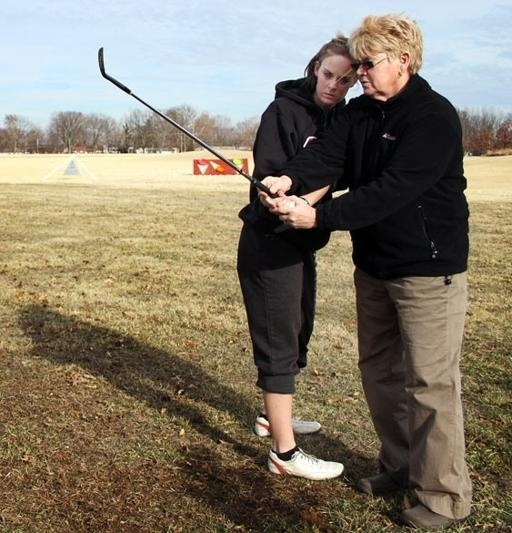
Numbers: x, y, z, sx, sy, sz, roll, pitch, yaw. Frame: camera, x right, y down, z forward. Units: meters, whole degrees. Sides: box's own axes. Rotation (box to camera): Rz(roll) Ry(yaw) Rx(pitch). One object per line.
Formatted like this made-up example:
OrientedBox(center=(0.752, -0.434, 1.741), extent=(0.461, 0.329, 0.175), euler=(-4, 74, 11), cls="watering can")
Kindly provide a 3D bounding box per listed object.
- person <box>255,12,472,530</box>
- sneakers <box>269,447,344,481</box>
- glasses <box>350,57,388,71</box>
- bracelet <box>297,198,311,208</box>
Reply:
OrientedBox(center=(0.722, 0.062, 2.783), extent=(1.138, 2.596, 0.597), euler=(9, 11, 20), cls="person")
OrientedBox(center=(0.314, 1.188, 3.186), extent=(0.477, 0.170, 0.180), euler=(2, 9, -3), cls="sneakers")
OrientedBox(center=(0.560, -0.991, 2.560), extent=(0.082, 0.023, 0.079), euler=(-19, 12, -17), cls="glasses")
OrientedBox(center=(0.257, -0.331, 2.717), extent=(0.065, 0.025, 0.049), euler=(39, 17, -9), cls="bracelet")
